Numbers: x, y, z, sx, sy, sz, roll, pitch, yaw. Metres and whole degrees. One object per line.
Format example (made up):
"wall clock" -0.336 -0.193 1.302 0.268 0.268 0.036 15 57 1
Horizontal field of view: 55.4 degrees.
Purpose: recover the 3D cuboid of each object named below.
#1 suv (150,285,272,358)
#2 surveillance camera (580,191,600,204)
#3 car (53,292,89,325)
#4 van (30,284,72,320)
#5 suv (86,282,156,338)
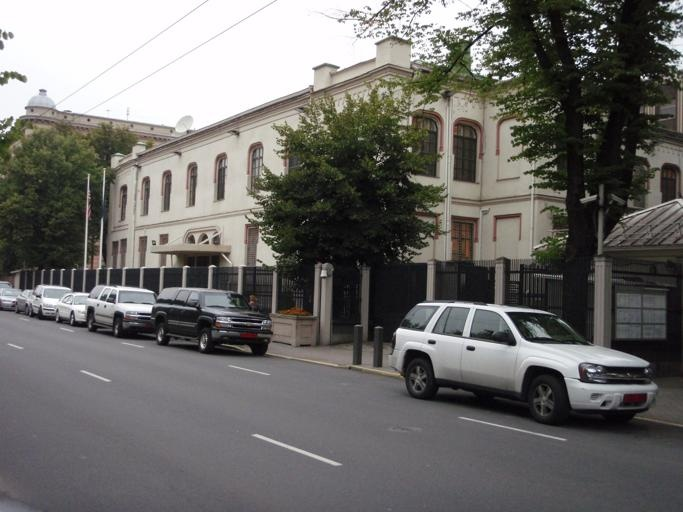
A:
"suv" -4.744 2.262 22.910 5.141 2.319 2.252 -5 -9 42
"surveillance camera" 6.965 -1.626 18.122 0.424 0.367 0.852 -3 -8 29
"car" -13.200 2.559 31.722 1.025 1.646 3.829 4 -8 -30
"van" -16.186 2.464 35.804 1.504 1.376 3.030 2 -6 -31
"suv" -9.152 2.237 27.029 1.904 1.760 3.938 4 -8 -34
